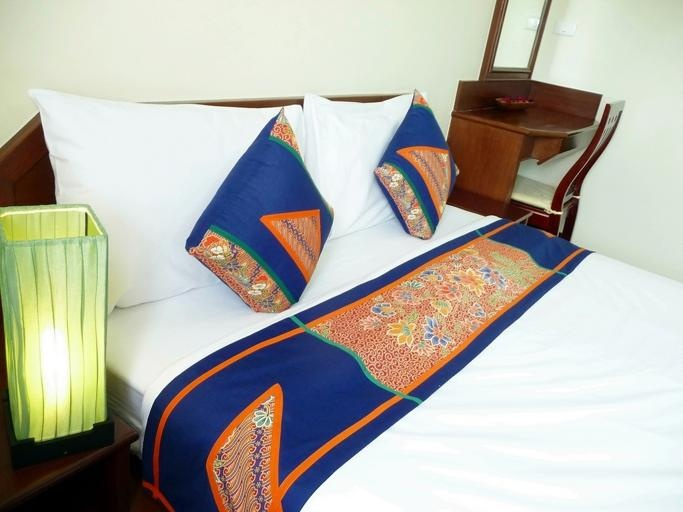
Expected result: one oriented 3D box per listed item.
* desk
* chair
[{"bbox_3d":[1.247,-0.788,3.300,0.629,0.700,1.138,25,29,35],"label":"desk"},{"bbox_3d":[1.462,-0.583,3.182,0.564,0.892,0.513,31,52,32],"label":"chair"}]
